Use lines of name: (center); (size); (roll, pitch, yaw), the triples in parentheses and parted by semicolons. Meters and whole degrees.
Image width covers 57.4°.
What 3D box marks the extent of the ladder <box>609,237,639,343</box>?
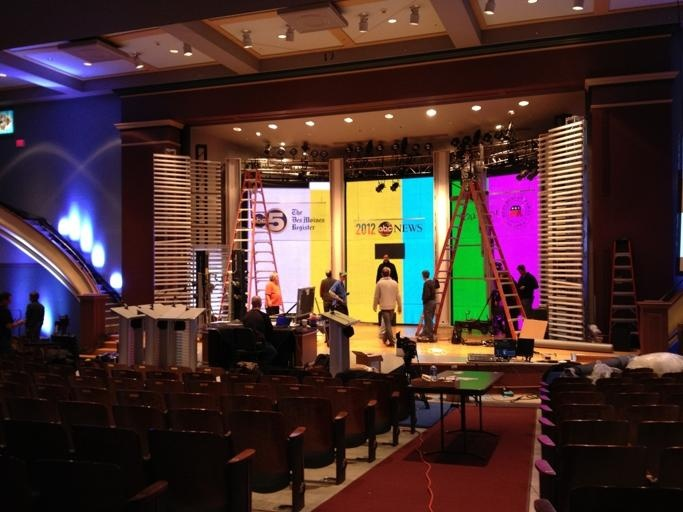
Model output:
ladder: (5.101, 0.678, 11.152); (0.555, 1.936, 0.494); (7, 7, 12)

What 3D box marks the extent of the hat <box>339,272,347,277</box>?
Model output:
hat: (0.036, 0.398, 13.581); (0.097, 0.108, 0.080); (5, -1, -21)

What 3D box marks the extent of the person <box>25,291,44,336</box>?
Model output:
person: (-6.255, 1.251, 12.690); (0.312, 0.953, 0.386); (2, 8, -26)

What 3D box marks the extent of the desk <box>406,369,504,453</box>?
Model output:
desk: (1.378, 1.854, 7.589); (0.902, 0.971, 1.432); (8, 7, 21)

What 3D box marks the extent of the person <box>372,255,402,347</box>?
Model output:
person: (0.972, 1.007, 13.234); (0.548, 1.524, 1.914); (6, 7, 4)

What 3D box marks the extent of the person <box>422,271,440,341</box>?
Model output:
person: (1.855, 1.051, 12.807); (0.384, 1.273, 0.436); (8, 7, 24)

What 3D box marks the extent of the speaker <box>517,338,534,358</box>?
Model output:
speaker: (2.941, 1.432, 9.987); (0.317, 0.321, 0.274); (1, 0, 16)

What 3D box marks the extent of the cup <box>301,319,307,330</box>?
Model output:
cup: (-0.631, 1.157, 10.620); (0.114, 0.126, 0.120); (-1, -12, 0)

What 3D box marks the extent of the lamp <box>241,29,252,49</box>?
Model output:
lamp: (-1.781, -4.106, 11.733); (0.180, 0.346, 0.508); (4, 7, -10)
